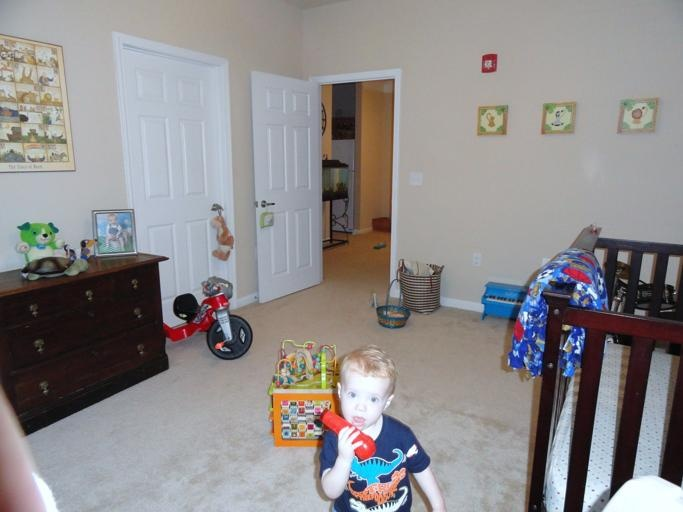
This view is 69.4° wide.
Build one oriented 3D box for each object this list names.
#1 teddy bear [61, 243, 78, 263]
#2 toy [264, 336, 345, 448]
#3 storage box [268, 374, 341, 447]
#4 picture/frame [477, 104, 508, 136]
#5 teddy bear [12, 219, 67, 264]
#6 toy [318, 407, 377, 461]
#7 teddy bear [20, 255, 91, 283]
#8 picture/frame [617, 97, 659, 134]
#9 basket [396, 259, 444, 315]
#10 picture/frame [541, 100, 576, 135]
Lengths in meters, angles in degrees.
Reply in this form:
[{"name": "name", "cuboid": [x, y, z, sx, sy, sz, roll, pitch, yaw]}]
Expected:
[{"name": "teddy bear", "cuboid": [-1.852, -0.021, 3.341, 0.078, 0.054, 0.152, 1, 51, -49]}, {"name": "toy", "cuboid": [-0.233, 0.769, 3.169, 0.460, 0.748, 0.710, 0, 4, -4]}, {"name": "storage box", "cuboid": [-0.217, 0.905, 3.007, 0.522, 0.560, 0.300, 0, 11, 3]}, {"name": "picture/frame", "cuboid": [1.393, -1.257, 4.526, 0.251, 0.286, 0.026, 7, 19, 29]}, {"name": "teddy bear", "cuboid": [-1.989, -0.080, 3.242, 0.167, 0.304, 0.259, 5, 8, 37]}, {"name": "toy", "cuboid": [0.025, 0.691, 1.889, 0.202, 0.245, 0.194, 0, 12, 8]}, {"name": "teddy bear", "cuboid": [-1.809, 0.063, 3.115, 0.366, 0.121, 0.204, -12, 16, -36]}, {"name": "picture/frame", "cuboid": [2.410, -1.147, 3.995, 0.264, 0.317, 0.022, 9, 24, 33]}, {"name": "basket", "cuboid": [0.761, 0.295, 4.791, 0.462, 0.525, 0.408, 2, 5, 22]}, {"name": "picture/frame", "cuboid": [1.884, -1.207, 4.266, 0.262, 0.297, 0.019, 5, 7, 31]}]
